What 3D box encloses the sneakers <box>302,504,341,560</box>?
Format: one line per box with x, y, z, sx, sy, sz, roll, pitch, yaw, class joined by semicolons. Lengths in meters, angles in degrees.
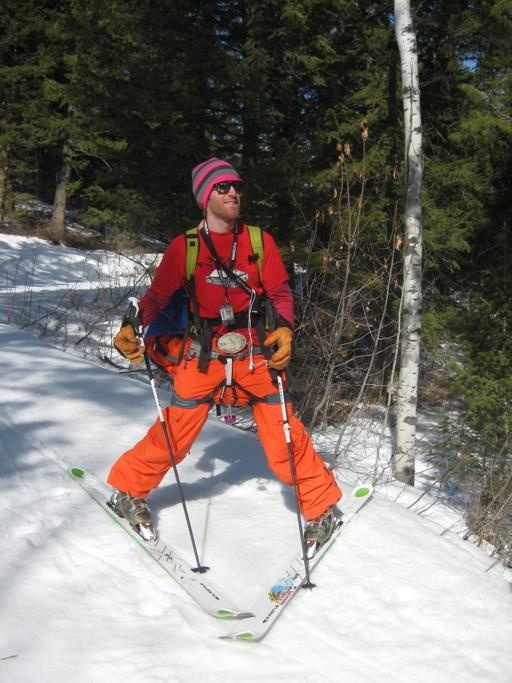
0.338;0.986;3.148;0.105;0.140;0.344;-31;7;40;sneakers

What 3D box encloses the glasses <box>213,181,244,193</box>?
-0.142;-0.777;3.014;0.086;0.029;0.085;-5;9;-27;glasses

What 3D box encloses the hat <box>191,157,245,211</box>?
-0.187;-0.864;3.159;0.234;0.271;0.305;-31;50;-34;hat

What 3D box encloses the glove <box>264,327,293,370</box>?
0.117;0.036;2.976;0.092;0.203;0.158;1;21;-20;glove

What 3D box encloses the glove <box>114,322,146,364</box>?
-0.659;0.022;3.082;0.104;0.205;0.153;-29;-14;-31;glove
